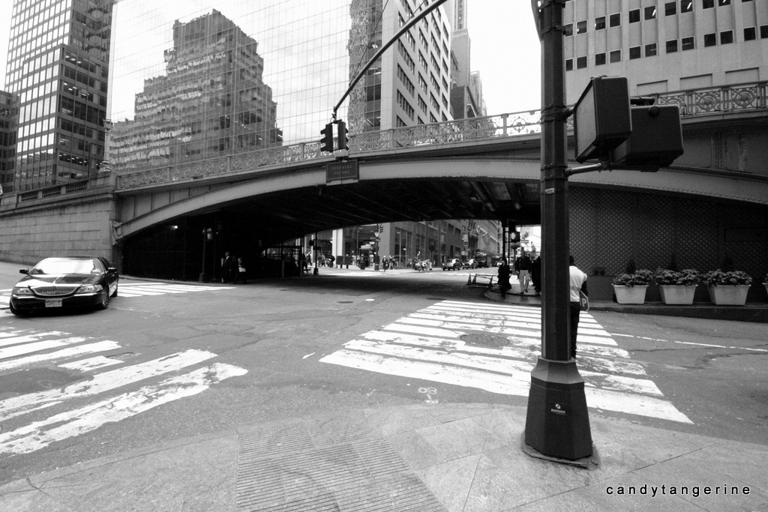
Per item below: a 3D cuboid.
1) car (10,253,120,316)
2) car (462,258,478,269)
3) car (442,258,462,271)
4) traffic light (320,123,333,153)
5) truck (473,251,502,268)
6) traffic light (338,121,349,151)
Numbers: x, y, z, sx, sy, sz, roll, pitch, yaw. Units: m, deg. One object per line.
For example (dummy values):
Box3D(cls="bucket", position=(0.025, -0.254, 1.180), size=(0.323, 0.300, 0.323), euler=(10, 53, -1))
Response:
Box3D(cls="car", position=(-13.209, 1.212, 23.319), size=(3.690, 2.203, 2.454), euler=(-2, 2, -34))
Box3D(cls="car", position=(14.562, 1.541, 95.977), size=(1.434, 1.327, 3.726), euler=(-2, -6, 22))
Box3D(cls="car", position=(9.487, 1.453, 79.748), size=(1.200, 1.404, 6.722), euler=(-1, 2, 19))
Box3D(cls="traffic light", position=(-2.394, -4.925, 23.715), size=(0.509, 1.130, 1.114), euler=(-1, 2, -6))
Box3D(cls="truck", position=(20.305, 0.861, 113.193), size=(2.792, 2.918, 10.704), euler=(1, 4, 17))
Box3D(cls="traffic light", position=(-1.787, -4.962, 23.710), size=(0.395, 1.222, 1.451), euler=(-1, 2, -4))
